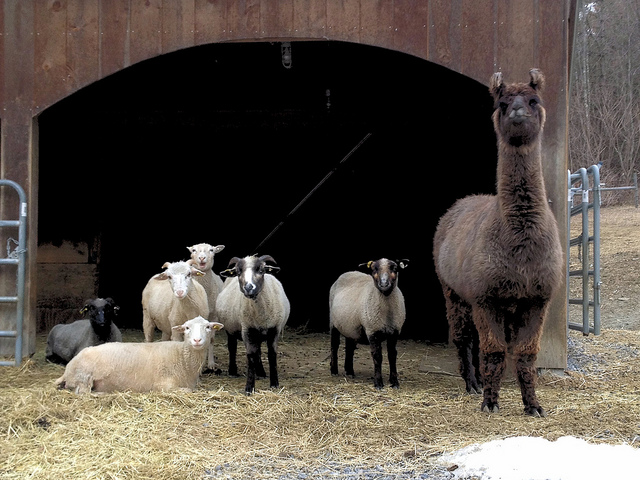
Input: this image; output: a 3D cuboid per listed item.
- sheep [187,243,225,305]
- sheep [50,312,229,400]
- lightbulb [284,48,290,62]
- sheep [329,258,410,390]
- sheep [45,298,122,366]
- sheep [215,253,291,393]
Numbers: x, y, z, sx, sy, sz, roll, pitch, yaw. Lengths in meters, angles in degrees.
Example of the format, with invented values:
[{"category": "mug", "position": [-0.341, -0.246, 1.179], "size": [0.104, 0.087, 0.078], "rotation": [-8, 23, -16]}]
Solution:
[{"category": "sheep", "position": [-1.966, 0.853, 16.222], "size": [0.704, 1.419, 1.842], "rotation": [-1, -8, -6]}, {"category": "sheep", "position": [-2.619, 1.765, 13.940], "size": [2.630, 1.582, 0.926], "rotation": [2, 34, -1]}, {"category": "lightbulb", "position": [-0.557, -3.051, 15.609], "size": [0.073, 0.239, 0.190], "rotation": [-1, 14, -2]}, {"category": "sheep", "position": [0.773, 1.315, 15.038], "size": [0.862, 2.070, 2.341], "rotation": [-3, 2, -24]}, {"category": "sheep", "position": [-3.739, 1.582, 15.168], "size": [0.926, 1.282, 1.896], "rotation": [-3, 1, -35]}, {"category": "sheep", "position": [-1.032, 1.234, 14.539], "size": [0.997, 2.150, 1.704], "rotation": [-5, 14, -17]}]
